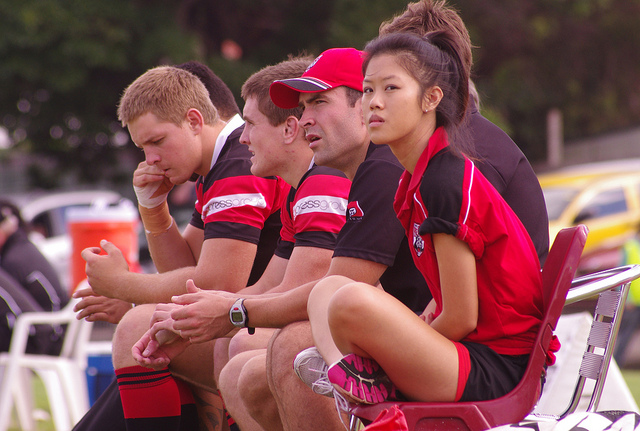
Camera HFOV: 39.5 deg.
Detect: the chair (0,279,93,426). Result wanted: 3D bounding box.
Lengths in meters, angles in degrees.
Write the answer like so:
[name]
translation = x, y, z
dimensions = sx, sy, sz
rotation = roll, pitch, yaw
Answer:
[chair]
translation = -2.201, 1.081, 7.133
dimensions = 0.718, 1.137, 0.973
rotation = -2, 2, -16
